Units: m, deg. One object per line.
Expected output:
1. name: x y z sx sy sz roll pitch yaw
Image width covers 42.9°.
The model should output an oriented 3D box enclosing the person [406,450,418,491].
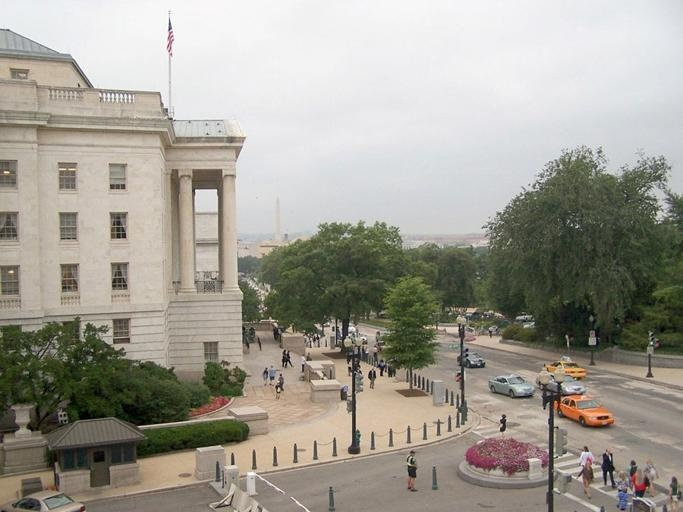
1. person: 3.852 11.755 47.823 0.492 2.165 1.170 -3 -2 3
